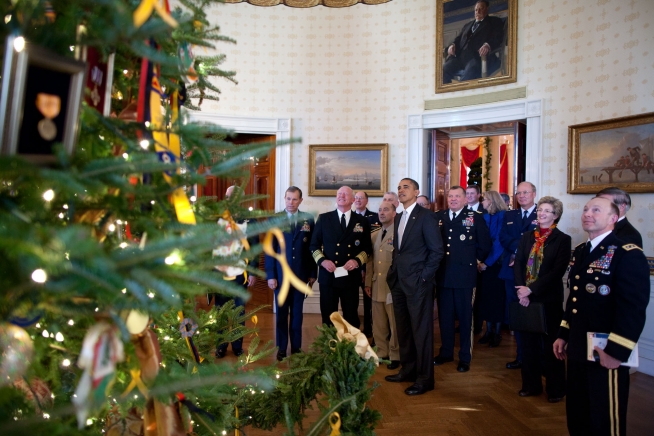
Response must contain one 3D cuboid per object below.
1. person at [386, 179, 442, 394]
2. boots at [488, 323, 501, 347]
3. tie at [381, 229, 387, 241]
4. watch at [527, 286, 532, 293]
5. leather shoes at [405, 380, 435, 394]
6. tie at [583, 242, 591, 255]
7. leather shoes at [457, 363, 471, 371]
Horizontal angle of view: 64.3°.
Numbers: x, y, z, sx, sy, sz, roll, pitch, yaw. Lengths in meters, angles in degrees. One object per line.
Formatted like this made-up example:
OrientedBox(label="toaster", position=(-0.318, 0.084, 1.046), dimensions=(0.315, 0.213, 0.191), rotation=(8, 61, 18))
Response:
OrientedBox(label="person", position=(0.708, 0.528, 4.279), dimensions=(0.423, 1.692, 0.651), rotation=(1, 5, 3))
OrientedBox(label="boots", position=(1.853, 1.313, 5.834), dimensions=(0.130, 0.287, 0.298), rotation=(-2, -30, 8))
OrientedBox(label="tie", position=(0.541, 0.156, 4.992), dimensions=(0.044, 0.083, 0.042), rotation=(-2, -18, 29))
OrientedBox(label="watch", position=(1.541, 0.545, 3.995), dimensions=(0.020, 0.052, 0.071), rotation=(2, 6, 14))
OrientedBox(label="leather shoes", position=(0.711, 1.319, 4.078), dimensions=(0.242, 0.098, 0.089), rotation=(2, -4, -18))
OrientedBox(label="tie", position=(1.568, 0.183, 3.179), dimensions=(0.044, 0.057, 0.073), rotation=(1, -13, 7))
OrientedBox(label="leather shoes", position=(1.220, 1.345, 4.700), dimensions=(0.119, 0.062, 0.141), rotation=(2, 6, 8))
